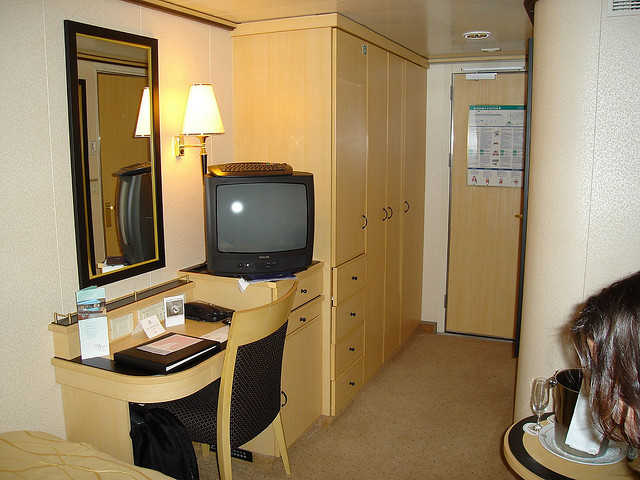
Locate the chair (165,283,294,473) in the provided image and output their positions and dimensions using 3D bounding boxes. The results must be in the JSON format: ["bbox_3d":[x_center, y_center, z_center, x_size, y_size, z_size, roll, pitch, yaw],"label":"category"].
[{"bbox_3d":[-0.429,0.870,2.785,0.444,1.202,0.802,9,16,31],"label":"chair"}]

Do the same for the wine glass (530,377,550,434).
[{"bbox_3d":[0.902,0.660,2.043,0.051,0.216,0.127,13,18,42],"label":"wine glass"}]

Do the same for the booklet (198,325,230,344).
[{"bbox_3d":[-0.580,0.512,2.774,0.148,0.025,0.271,0,13,-4],"label":"booklet"}]

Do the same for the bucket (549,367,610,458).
[{"bbox_3d":[0.988,0.637,1.987,0.301,0.307,0.250,0,11,24],"label":"bucket"}]

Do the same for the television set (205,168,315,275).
[{"bbox_3d":[-0.357,-0.095,3.115,0.673,0.609,0.157,-2,14,-13],"label":"television set"}]

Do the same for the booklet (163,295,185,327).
[{"bbox_3d":[-0.838,0.413,2.891,0.164,0.221,0.017,-5,6,-40],"label":"booklet"}]

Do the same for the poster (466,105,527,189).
[{"bbox_3d":[1.673,-0.892,4.815,0.544,0.778,0.139,5,14,17],"label":"poster"}]

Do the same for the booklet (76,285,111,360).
[{"bbox_3d":[-1.136,0.401,2.517,0.135,0.345,0.155,-6,15,-25],"label":"booklet"}]

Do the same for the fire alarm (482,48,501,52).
[{"bbox_3d":[1.531,-1.695,4.483,0.150,0.011,0.201,8,15,28],"label":"fire alarm"}]

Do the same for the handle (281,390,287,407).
[{"bbox_3d":[-0.220,0.989,3.152,0.013,0.112,0.054,10,16,34],"label":"handle"}]

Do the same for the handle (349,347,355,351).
[{"bbox_3d":[0.244,0.809,3.726,0.025,0.022,0.022,-8,31,-18],"label":"handle"}]

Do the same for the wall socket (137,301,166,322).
[{"bbox_3d":[-0.961,0.429,2.874,0.021,0.121,0.189,9,16,31],"label":"wall socket"}]

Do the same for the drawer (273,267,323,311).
[{"bbox_3d":[-0.163,0.296,3.316,0.217,0.171,0.383,4,11,29],"label":"drawer"}]

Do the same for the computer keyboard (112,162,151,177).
[{"bbox_3d":[-1.046,-0.400,2.820,0.056,0.045,0.197,7,19,23],"label":"computer keyboard"}]

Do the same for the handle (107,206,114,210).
[{"bbox_3d":[-1.124,-0.173,2.705,0.004,0.015,0.036,9,15,31],"label":"handle"}]

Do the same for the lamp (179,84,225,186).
[{"bbox_3d":[-0.716,-0.533,3.125,0.269,0.826,0.253,-2,9,-10],"label":"lamp"}]
